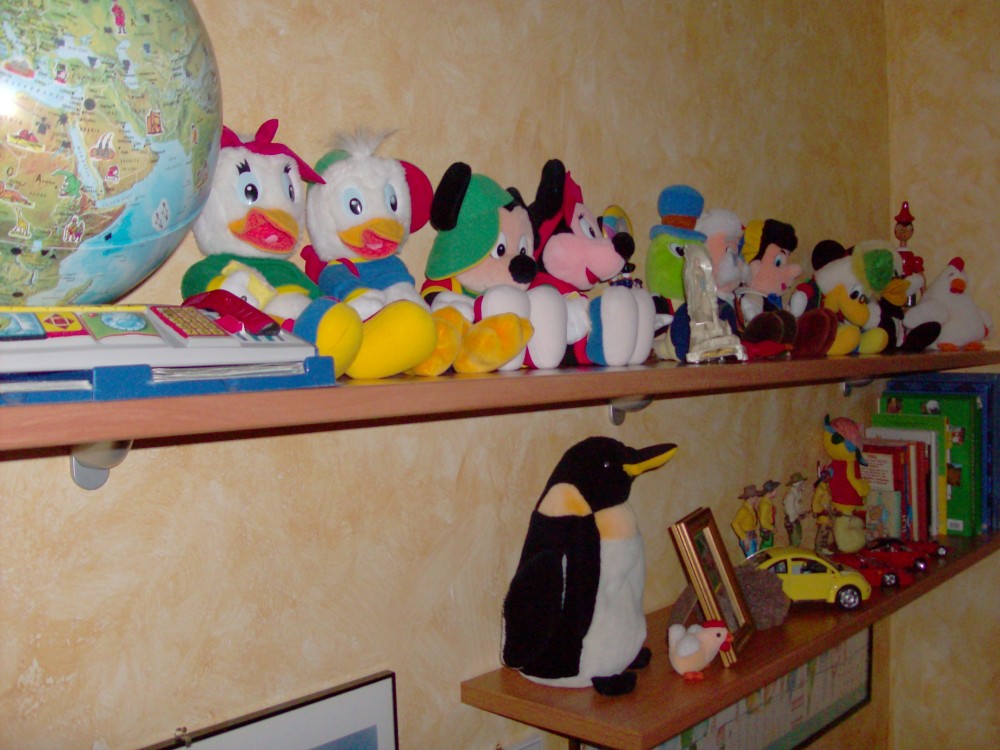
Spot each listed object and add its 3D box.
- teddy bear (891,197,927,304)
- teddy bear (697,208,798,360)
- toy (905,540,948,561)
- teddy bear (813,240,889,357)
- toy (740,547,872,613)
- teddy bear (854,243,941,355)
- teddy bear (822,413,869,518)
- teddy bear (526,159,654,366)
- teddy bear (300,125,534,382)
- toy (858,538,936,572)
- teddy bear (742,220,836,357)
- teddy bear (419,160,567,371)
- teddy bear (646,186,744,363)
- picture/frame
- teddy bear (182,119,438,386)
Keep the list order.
[{"bbox_3d":[0.903,-0.267,1.905,0.091,0.223,0.074,3,12,25],"label":"teddy bear"},{"bbox_3d":[0.472,-0.154,1.516,0.154,0.263,0.187,0,-7,0],"label":"teddy bear"},{"bbox_3d":[0.854,0.339,1.698,0.070,0.025,0.049,-4,4,-27],"label":"toy"},{"bbox_3d":[0.684,-0.153,1.640,0.132,0.224,0.116,0,12,-13],"label":"teddy bear"},{"bbox_3d":[0.531,0.344,1.479,0.189,0.082,0.104,0,3,-1],"label":"toy"},{"bbox_3d":[0.789,-0.144,1.694,0.152,0.225,0.155,-12,21,42],"label":"teddy bear"},{"bbox_3d":[0.723,0.197,1.782,0.087,0.186,0.095,0,24,8],"label":"teddy bear"},{"bbox_3d":[0.128,-0.150,1.215,0.174,0.294,0.175,0,-1,-20],"label":"teddy bear"},{"bbox_3d":[-0.126,-0.146,1.015,0.207,0.291,0.263,-10,12,-38],"label":"teddy bear"},{"bbox_3d":[0.790,0.349,1.682,0.113,0.040,0.083,-5,1,-1],"label":"toy"},{"bbox_3d":[0.494,-0.154,1.518,0.167,0.244,0.164,17,19,39],"label":"teddy bear"},{"bbox_3d":[0.002,-0.136,1.108,0.156,0.319,0.217,-3,-6,18],"label":"teddy bear"},{"bbox_3d":[0.280,-0.149,1.256,0.133,0.257,0.142,-10,13,-21],"label":"teddy bear"},{"bbox_3d":[0.324,0.335,1.310,0.018,0.202,0.154,-18,8,28],"label":"picture/frame"},{"bbox_3d":[-0.236,-0.131,0.944,0.277,0.305,0.171,14,14,34],"label":"teddy bear"}]
